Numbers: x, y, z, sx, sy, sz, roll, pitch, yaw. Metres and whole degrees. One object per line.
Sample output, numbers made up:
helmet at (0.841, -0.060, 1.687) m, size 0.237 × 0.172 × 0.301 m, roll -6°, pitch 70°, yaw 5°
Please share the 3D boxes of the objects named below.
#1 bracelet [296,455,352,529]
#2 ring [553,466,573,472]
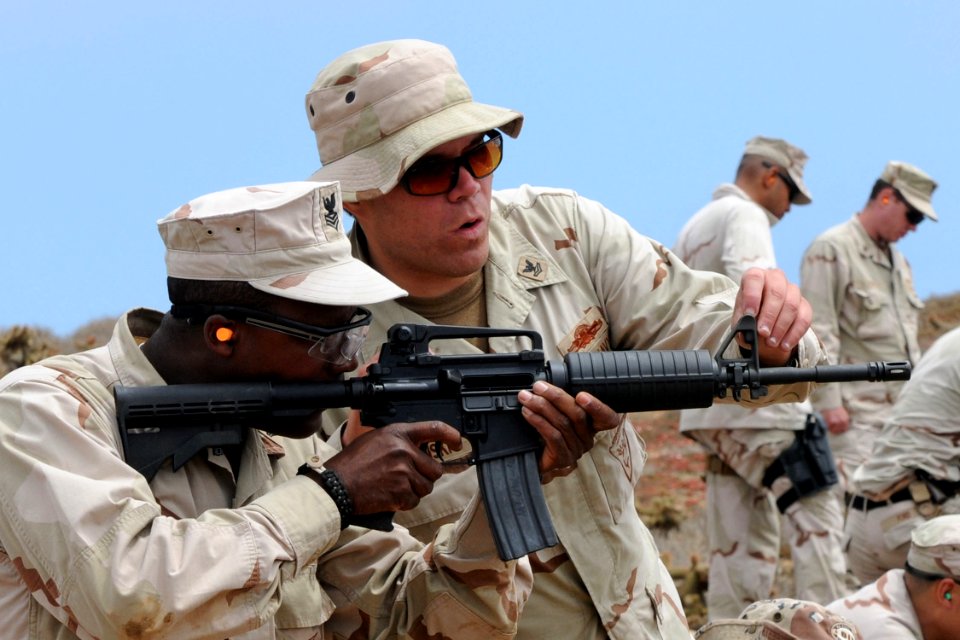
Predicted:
bracelet at (-0.696, 0.799, 5.663) m, size 0.084 × 0.289 × 0.268 m, roll -36°, pitch 45°, yaw -23°
ring at (0.413, 0.743, 6.005) m, size 0.065 × 0.030 × 0.012 m, roll -2°, pitch 36°, yaw 9°
